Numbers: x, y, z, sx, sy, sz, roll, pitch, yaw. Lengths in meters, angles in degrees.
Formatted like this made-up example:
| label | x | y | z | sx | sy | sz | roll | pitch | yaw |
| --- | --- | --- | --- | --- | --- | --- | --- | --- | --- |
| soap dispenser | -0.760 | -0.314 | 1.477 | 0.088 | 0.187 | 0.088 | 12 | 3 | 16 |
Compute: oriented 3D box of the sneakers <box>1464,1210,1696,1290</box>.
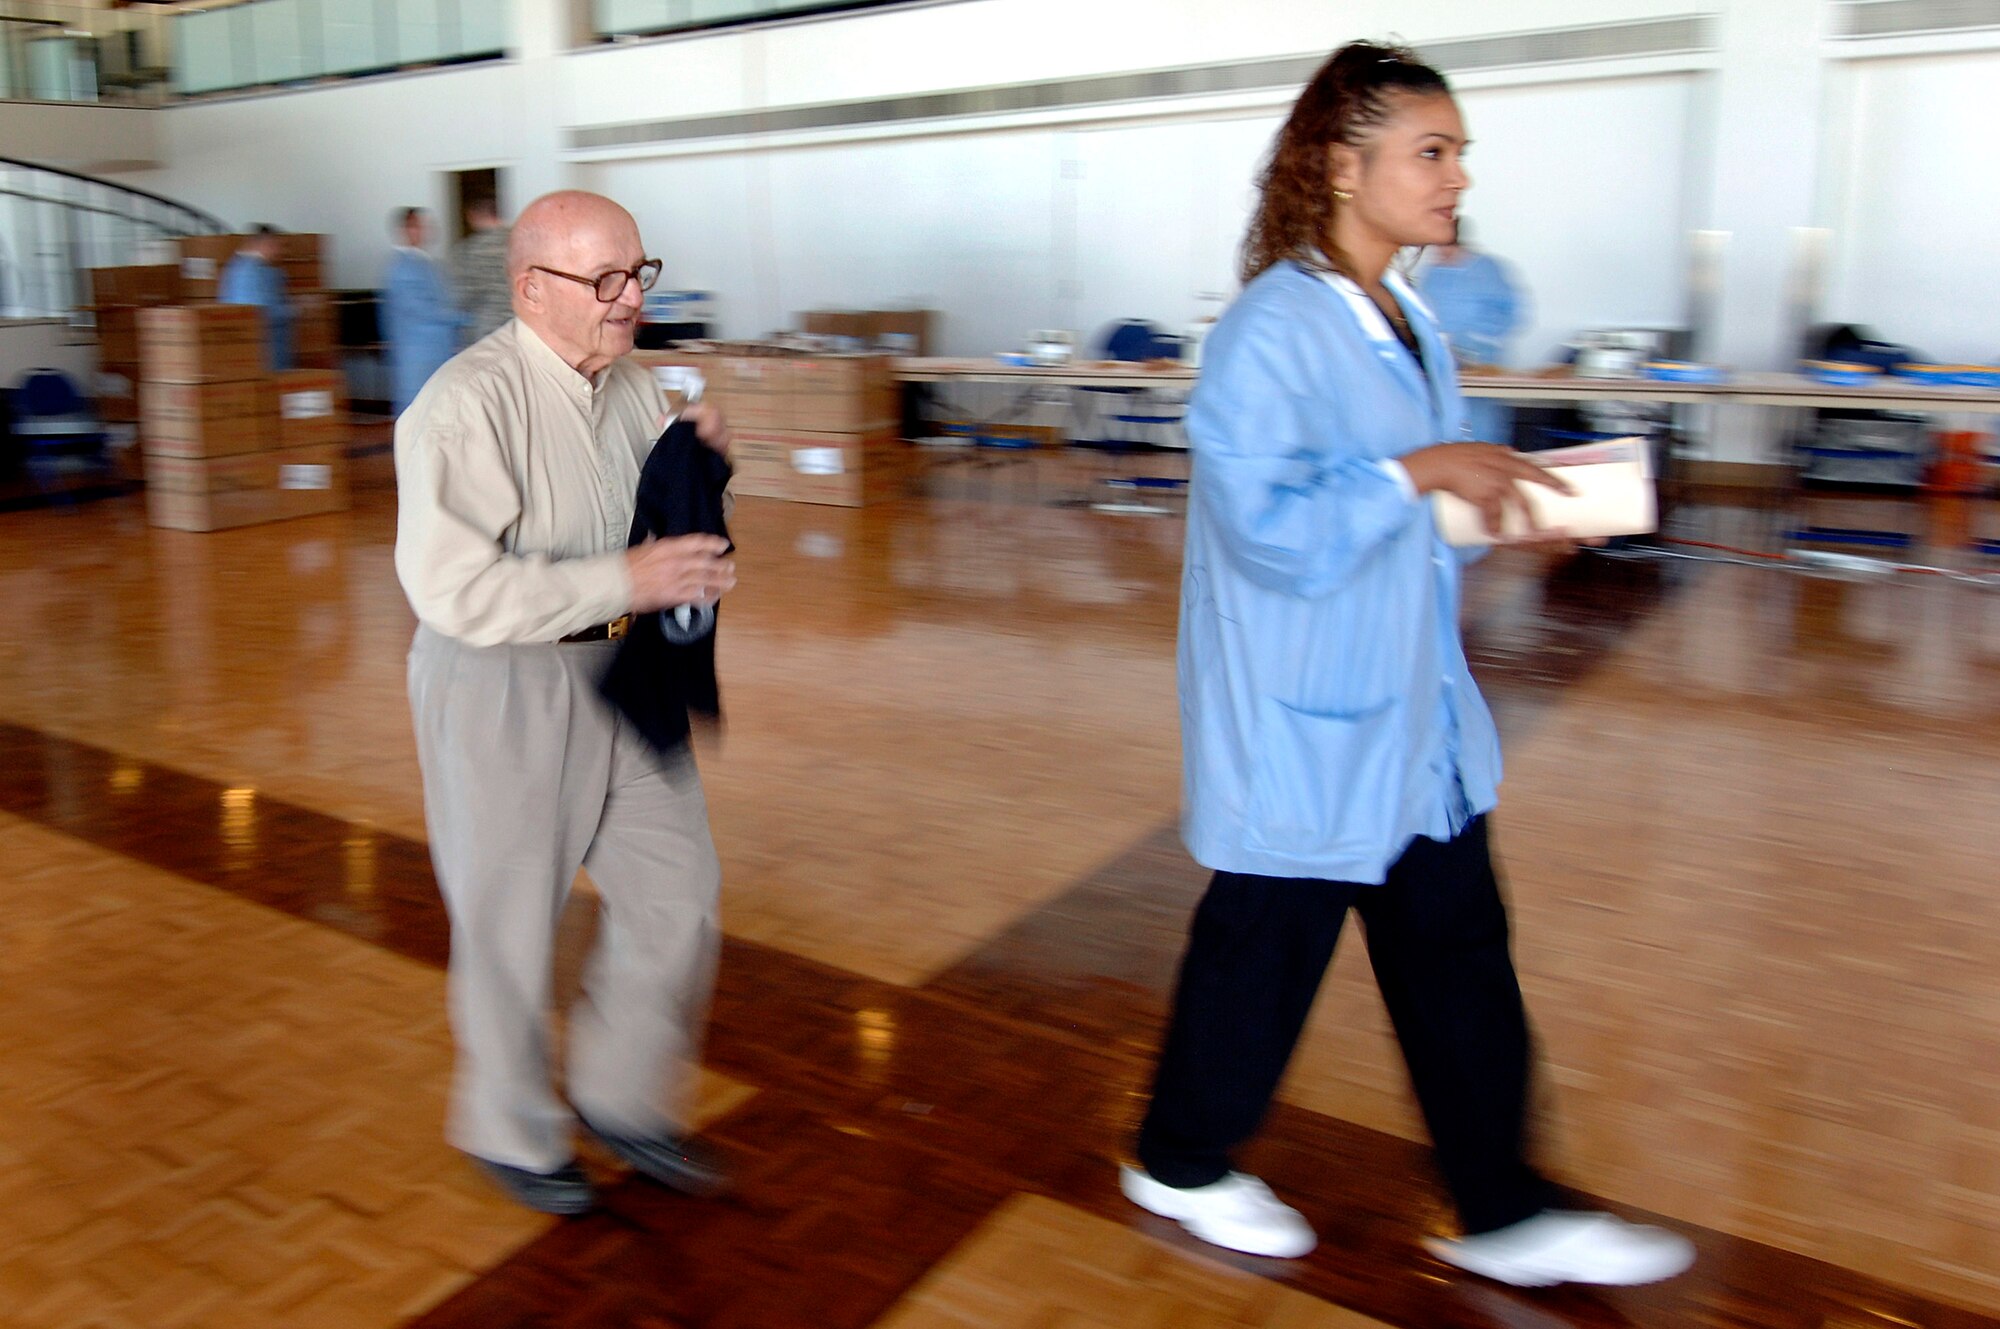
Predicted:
| label | x | y | z | sx | sy | sz | roll | pitch | yaw |
| --- | --- | --- | --- | --- | --- | --- | --- | --- | --- |
| sneakers | 0.938 | 0.969 | 2.212 | 0.416 | 0.100 | 0.133 | -6 | 19 | 14 |

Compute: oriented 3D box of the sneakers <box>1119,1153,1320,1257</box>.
| label | x | y | z | sx | sy | sz | roll | pitch | yaw |
| --- | --- | --- | --- | --- | --- | --- | --- | --- | --- |
| sneakers | 0.386 | 0.944 | 2.316 | 0.292 | 0.082 | 0.141 | 5 | 4 | 16 |

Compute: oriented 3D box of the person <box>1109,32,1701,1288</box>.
| label | x | y | z | sx | sy | sz | roll | pitch | yaw |
| --- | --- | --- | --- | --- | --- | --- | --- | --- | --- |
| person | 0.645 | 0.041 | 2.095 | 0.762 | 2.004 | 0.534 | 7 | 21 | 23 |

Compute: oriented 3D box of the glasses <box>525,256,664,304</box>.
| label | x | y | z | sx | sy | sz | roll | pitch | yaw |
| --- | --- | --- | --- | --- | --- | --- | --- | --- | --- |
| glasses | -0.643 | -0.662 | 2.251 | 0.171 | 0.079 | 0.268 | 5 | 16 | 19 |

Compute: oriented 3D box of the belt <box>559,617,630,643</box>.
| label | x | y | z | sx | sy | sz | roll | pitch | yaw |
| --- | --- | --- | --- | --- | --- | --- | --- | --- | --- |
| belt | -0.686 | -0.056 | 2.226 | 0.064 | 0.037 | 0.057 | 0 | 13 | 3 |
